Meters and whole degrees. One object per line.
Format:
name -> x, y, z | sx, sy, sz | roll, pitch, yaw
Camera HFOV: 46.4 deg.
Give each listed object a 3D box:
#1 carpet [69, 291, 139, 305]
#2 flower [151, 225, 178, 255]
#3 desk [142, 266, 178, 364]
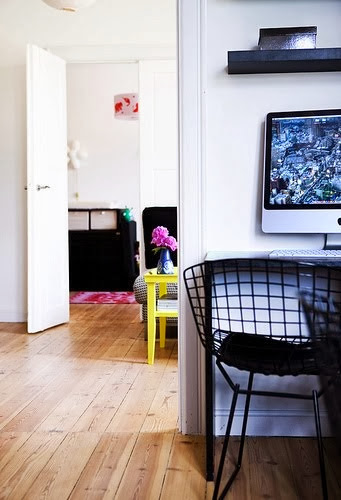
carpet -> -0.850, 0.607, 4.982 | 0.793, 0.088, 0.819 | -1, -1, -9
flower -> -0.042, -0.073, 2.756 | 0.116, 0.186, 0.173 | -12, 23, -13
desk -> -0.027, 0.465, 2.742 | 0.374, 0.551, 0.402 | 0, -11, -9
